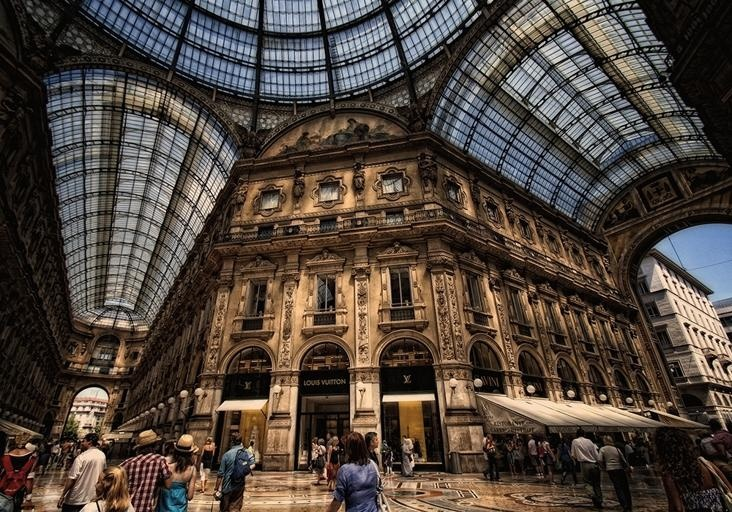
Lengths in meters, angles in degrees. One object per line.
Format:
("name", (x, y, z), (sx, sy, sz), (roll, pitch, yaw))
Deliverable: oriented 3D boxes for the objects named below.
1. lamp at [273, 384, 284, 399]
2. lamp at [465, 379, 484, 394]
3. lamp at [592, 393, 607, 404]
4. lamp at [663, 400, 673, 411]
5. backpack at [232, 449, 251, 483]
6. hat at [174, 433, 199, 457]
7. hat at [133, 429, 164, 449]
("lamp", (-4.865, 7.587, 20.049), (0.464, 0.634, 0.628), (-1, -35, -6))
("lamp", (5.703, 6.972, 19.091), (0.892, 0.670, 1.260), (-1, -14, 12))
("lamp", (16.629, 10.369, 25.888), (1.121, 0.299, 1.110), (3, -24, 19))
("lamp", (27.814, 14.032, 33.439), (0.493, 1.157, 0.540), (8, -27, -10))
("backpack", (-3.096, 5.327, 9.117), (0.362, 0.725, 0.772), (-8, -31, 11))
("hat", (-3.601, 3.857, 7.307), (0.395, 0.348, 0.574), (15, -35, -25))
("hat", (-4.341, 3.625, 7.134), (0.606, 0.243, 0.552), (-4, -17, -14))
